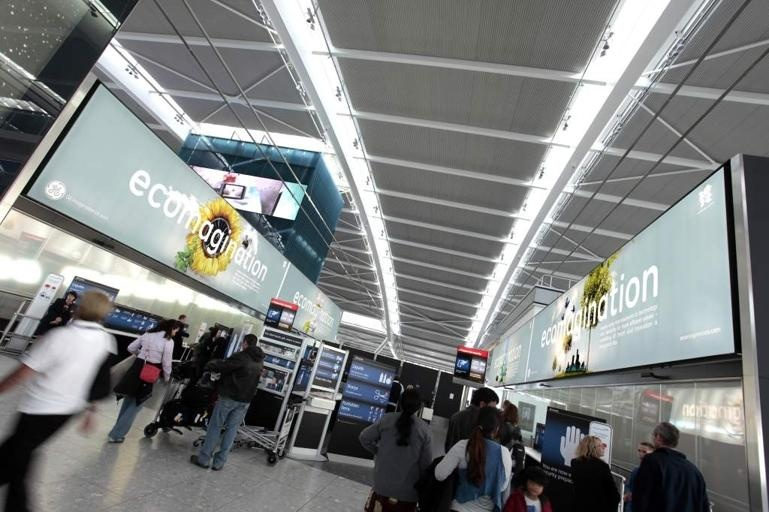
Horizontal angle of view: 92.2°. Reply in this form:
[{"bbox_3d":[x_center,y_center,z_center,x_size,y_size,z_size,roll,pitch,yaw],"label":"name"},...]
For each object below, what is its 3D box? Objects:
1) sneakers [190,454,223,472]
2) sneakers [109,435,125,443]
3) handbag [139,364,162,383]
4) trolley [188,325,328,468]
[{"bbox_3d":[-2.774,3.244,5.814,0.431,0.183,0.147,19,-17,19],"label":"sneakers"},{"bbox_3d":[-4.174,2.875,5.823,0.179,0.092,0.107,18,-20,-4],"label":"sneakers"},{"bbox_3d":[-3.846,1.919,6.104,0.361,0.351,0.122,14,-20,-31],"label":"handbag"},{"bbox_3d":[-2.435,2.506,6.914,1.413,2.235,1.783,13,-10,-3],"label":"trolley"}]
